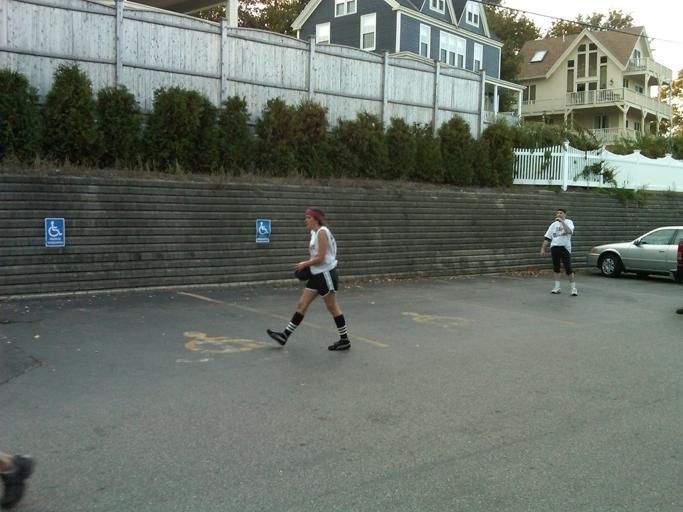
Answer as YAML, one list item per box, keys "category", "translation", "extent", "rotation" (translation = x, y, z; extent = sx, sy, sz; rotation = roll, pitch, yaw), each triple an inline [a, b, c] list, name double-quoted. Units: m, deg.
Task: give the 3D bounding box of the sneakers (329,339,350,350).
- category: "sneakers"
  translation: [-0.022, 1.337, 9.622]
  extent: [0.350, 0.189, 0.143]
  rotation: [1, 4, -3]

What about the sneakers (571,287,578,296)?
- category: "sneakers"
  translation: [5.678, 0.862, 15.326]
  extent: [0.113, 0.163, 0.344]
  rotation: [-3, -5, 17]

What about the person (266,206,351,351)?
- category: "person"
  translation: [-0.408, 0.319, 9.855]
  extent: [1.158, 2.124, 0.980]
  rotation: [1, 7, 1]

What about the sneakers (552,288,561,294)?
- category: "sneakers"
  translation: [5.375, 0.858, 15.723]
  extent: [0.117, 0.161, 0.333]
  rotation: [-2, -3, 33]
